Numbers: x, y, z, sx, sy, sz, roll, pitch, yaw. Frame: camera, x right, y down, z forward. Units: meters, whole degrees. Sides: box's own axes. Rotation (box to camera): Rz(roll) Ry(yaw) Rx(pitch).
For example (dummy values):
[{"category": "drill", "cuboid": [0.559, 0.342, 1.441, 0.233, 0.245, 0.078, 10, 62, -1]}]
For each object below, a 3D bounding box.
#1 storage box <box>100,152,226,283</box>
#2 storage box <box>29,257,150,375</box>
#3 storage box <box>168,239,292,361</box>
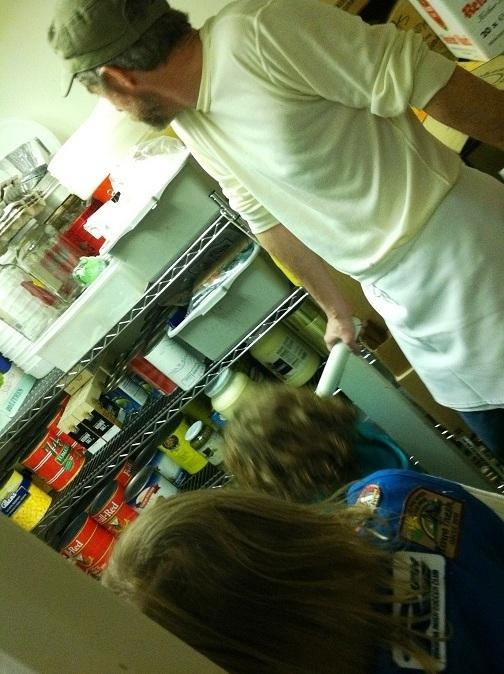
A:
[{"category": "storage box", "cuboid": [-0.195, -0.255, 1.278, 0.276, 0.095, 0.198, -46, 10, 16]}, {"category": "storage box", "cuboid": [-0.346, -0.034, 1.389, 0.301, 0.135, 0.202, -48, 9, 8]}, {"category": "storage box", "cuboid": [-0.042, -0.067, 1.444, 0.297, 0.144, 0.226, -44, 24, 9]}]
